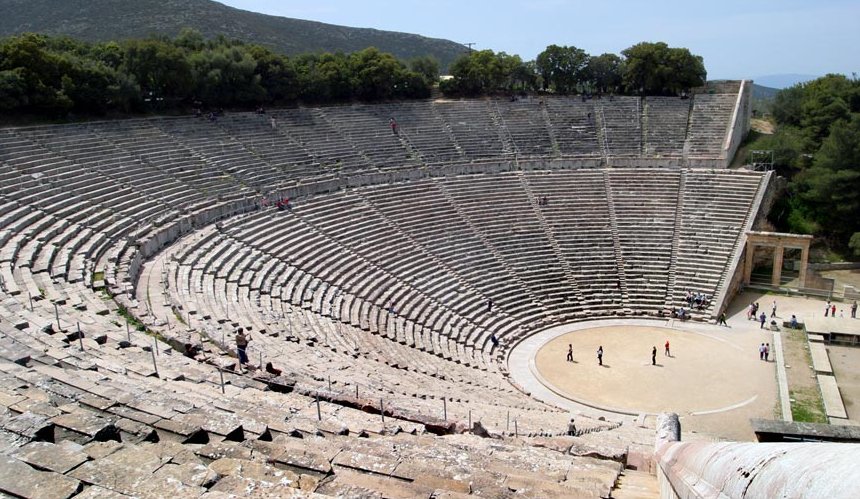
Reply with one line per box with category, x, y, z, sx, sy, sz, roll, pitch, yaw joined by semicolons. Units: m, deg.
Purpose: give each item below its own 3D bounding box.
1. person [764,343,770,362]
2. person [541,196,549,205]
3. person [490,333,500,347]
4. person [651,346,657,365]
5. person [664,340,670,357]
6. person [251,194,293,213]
person;19.190;5.783;32.878;0.330;0.819;0.737;12;22;30
person;8.828;-3.778;44.592;0.524;0.521;0.840;2;18;9
person;3.871;5.496;35.231;0.582;0.675;0.195;-2;-27;-8
person;12.798;5.852;32.871;0.295;0.971;1.244;6;19;18
person;13.845;5.598;33.592;0.330;0.870;1.244;7;19;21
person;-10.452;-3.019;37.907;1.926;0.468;1.091;-3;38;-11
